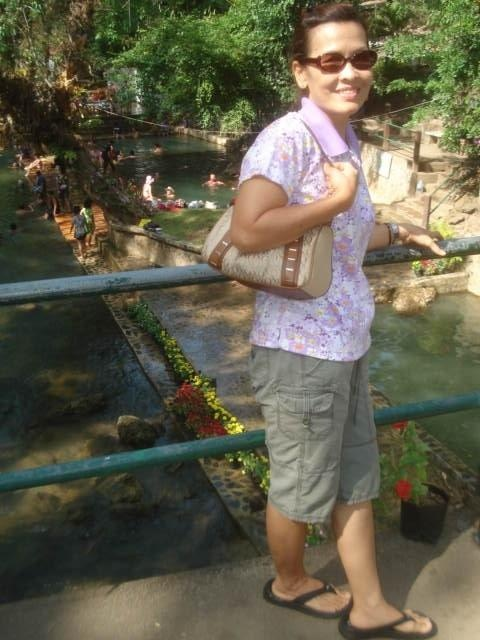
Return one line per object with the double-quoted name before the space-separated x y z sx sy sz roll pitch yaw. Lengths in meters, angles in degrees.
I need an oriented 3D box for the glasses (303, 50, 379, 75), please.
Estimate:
"glasses" 0.250 -0.616 1.299 0.199 0.068 0.062 4 16 0
